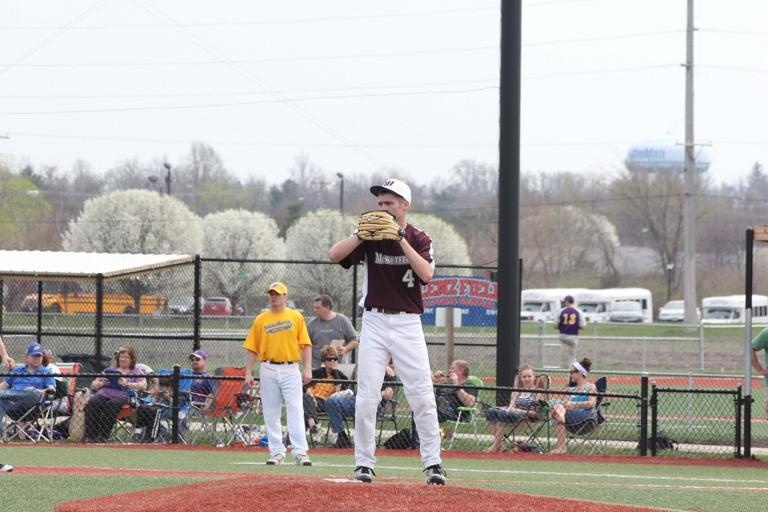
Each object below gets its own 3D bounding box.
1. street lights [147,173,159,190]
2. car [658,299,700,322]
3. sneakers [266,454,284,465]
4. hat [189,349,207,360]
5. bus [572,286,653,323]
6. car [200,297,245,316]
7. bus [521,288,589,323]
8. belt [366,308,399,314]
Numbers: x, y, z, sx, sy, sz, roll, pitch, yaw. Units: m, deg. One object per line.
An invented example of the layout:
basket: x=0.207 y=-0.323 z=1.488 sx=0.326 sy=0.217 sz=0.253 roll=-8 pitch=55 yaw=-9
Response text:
street lights: x=-13.059 y=-4.280 z=103.067 sx=0.720 sy=0.887 sz=0.731 roll=3 pitch=-3 yaw=-18
car: x=13.865 y=2.533 z=86.056 sx=0.906 sy=0.716 sz=1.894 roll=-2 pitch=-7 yaw=21
sneakers: x=-3.349 y=6.273 z=56.179 sx=0.231 sy=0.277 sz=0.636 roll=0 pitch=-5 yaw=41
hat: x=-6.001 y=3.162 z=59.441 sx=0.304 sy=0.232 sz=0.443 roll=9 pitch=-17 yaw=37
bus: x=10.830 y=2.075 z=84.842 sx=2.633 sy=1.416 sz=1.964 roll=3 pitch=-3 yaw=-22
car: x=-6.767 y=2.024 z=73.578 sx=0.990 sy=0.836 sz=1.692 roll=0 pitch=3 yaw=9
bus: x=7.965 y=2.053 z=84.435 sx=3.140 sy=1.605 sz=2.050 roll=3 pitch=-4 yaw=-30
belt: x=-0.003 y=1.584 z=54.008 sx=1.004 sy=0.179 sz=0.184 roll=0 pitch=-7 yaw=-4
